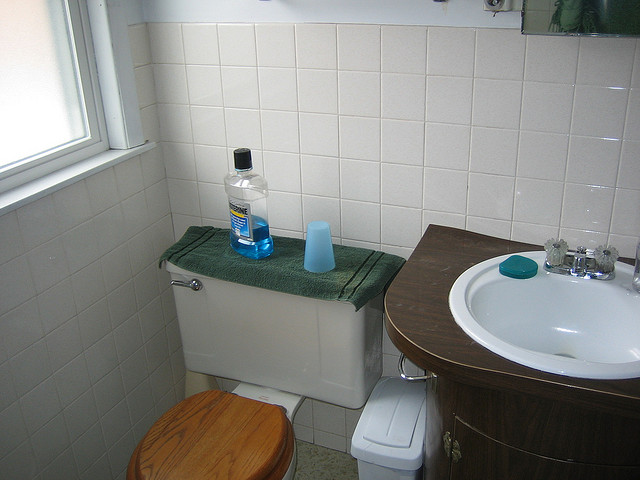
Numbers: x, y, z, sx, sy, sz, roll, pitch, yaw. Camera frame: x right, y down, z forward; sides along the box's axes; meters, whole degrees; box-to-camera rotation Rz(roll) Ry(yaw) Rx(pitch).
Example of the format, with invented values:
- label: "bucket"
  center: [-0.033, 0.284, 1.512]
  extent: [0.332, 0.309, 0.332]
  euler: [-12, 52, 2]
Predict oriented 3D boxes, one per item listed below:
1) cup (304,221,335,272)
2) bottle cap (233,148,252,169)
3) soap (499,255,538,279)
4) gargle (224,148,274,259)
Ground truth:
- label: "cup"
  center: [-0.003, 0.012, 1.531]
  extent: [0.124, 0.148, 0.138]
  euler: [-1, 29, -1]
- label: "bottle cap"
  center: [-0.249, -0.269, 1.548]
  extent: [0.057, 0.060, 0.059]
  euler: [-17, 39, -22]
- label: "soap"
  center: [0.556, 0.076, 1.300]
  extent: [0.066, 0.019, 0.071]
  euler: [23, 38, 35]
- label: "gargle"
  center: [-0.251, -0.124, 1.599]
  extent: [0.117, 0.361, 0.194]
  euler: [-21, 29, -38]
